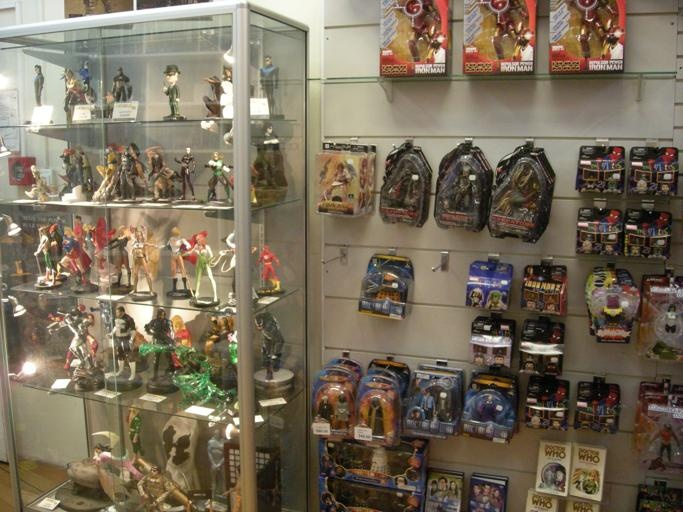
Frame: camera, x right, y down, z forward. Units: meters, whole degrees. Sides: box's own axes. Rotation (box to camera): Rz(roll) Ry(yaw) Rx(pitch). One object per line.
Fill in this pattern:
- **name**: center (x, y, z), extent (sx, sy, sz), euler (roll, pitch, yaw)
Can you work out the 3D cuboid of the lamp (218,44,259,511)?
- **lamp**: center (-0.438, 0.150, 2.688), extent (0.118, 2.131, 0.048), euler (0, 6, -12)
